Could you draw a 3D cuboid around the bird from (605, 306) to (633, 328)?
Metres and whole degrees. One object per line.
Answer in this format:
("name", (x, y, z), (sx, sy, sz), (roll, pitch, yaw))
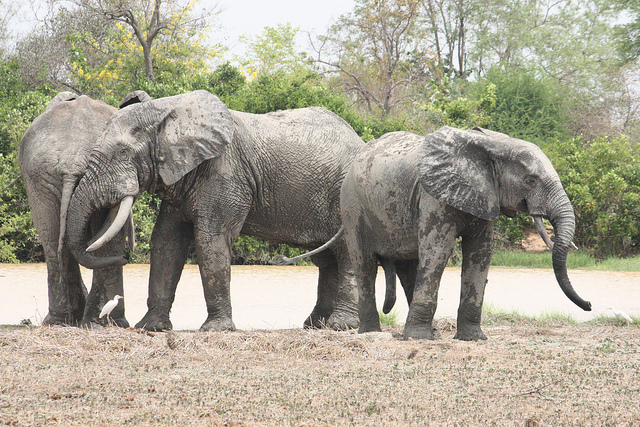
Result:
("bird", (5.680, 1.954, 15.187), (0.446, 0.331, 0.734), (3, 5, 22))

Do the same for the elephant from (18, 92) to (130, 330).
("elephant", (-4.338, -0.026, 13.989), (1.808, 4.189, 1.309), (0, 5, -12))

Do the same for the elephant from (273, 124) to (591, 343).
("elephant", (1.871, 0.394, 13.587), (6.024, 3.383, 1.954), (0, -3, 33))

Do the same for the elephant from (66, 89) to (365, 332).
("elephant", (-1.714, 0.096, 14.720), (5.782, 3.940, 3.169), (4, -7, -19))
